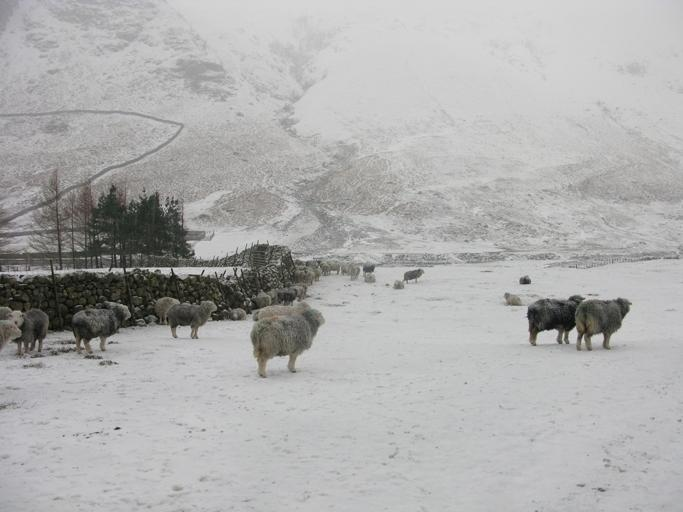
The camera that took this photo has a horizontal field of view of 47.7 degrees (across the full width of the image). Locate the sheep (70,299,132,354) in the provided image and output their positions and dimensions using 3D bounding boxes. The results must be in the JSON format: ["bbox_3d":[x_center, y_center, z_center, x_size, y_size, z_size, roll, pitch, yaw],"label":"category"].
[{"bbox_3d":[-7.419,2.195,23.954,1.512,1.483,2.549,2,-4,-16],"label":"sheep"}]

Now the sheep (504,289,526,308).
[{"bbox_3d":[7.426,1.864,33.227,0.785,0.556,1.198,0,-4,12],"label":"sheep"}]

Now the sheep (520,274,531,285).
[{"bbox_3d":[9.870,1.237,41.545,0.582,0.380,0.562,1,3,14],"label":"sheep"}]

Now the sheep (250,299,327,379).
[{"bbox_3d":[-1.546,2.450,21.860,0.741,1.909,1.944,-3,-5,44],"label":"sheep"}]
